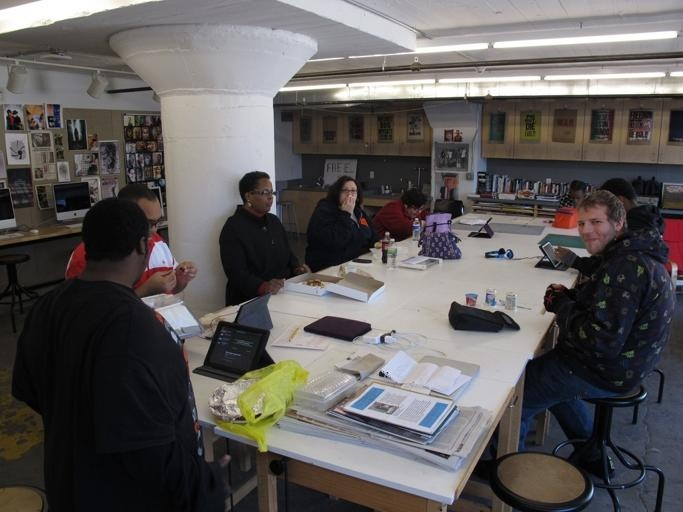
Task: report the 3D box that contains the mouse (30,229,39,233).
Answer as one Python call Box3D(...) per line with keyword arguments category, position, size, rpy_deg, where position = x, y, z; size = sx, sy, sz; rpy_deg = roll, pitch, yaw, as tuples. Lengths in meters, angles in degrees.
Box3D(category="mouse", position=(-3.802, -0.309, 5.963), size=(0.083, 0.023, 0.084), rpy_deg=(-5, 17, -39))

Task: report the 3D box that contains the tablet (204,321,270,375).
Box3D(category="tablet", position=(-0.549, 0.431, 2.319), size=(0.183, 0.238, 0.356), rpy_deg=(23, -7, 33))

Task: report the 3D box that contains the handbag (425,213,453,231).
Box3D(category="handbag", position=(0.903, -0.312, 4.456), size=(0.297, 0.189, 0.162), rpy_deg=(-1, 4, -4))

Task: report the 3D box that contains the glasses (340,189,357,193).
Box3D(category="glasses", position=(0.083, -0.608, 4.513), size=(0.144, 0.039, 0.057), rpy_deg=(-5, 12, -23))

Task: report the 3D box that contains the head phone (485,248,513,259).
Box3D(category="head phone", position=(1.431, -0.023, 4.372), size=(0.179, 0.064, 0.121), rpy_deg=(-1, 1, -5))

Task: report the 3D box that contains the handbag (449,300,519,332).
Box3D(category="handbag", position=(0.821, 0.353, 2.800), size=(0.263, 0.078, 0.192), rpy_deg=(-1, 8, 4))

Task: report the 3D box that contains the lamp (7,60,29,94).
Box3D(category="lamp", position=(-3.536, -1.954, 5.238), size=(0.172, 0.306, 0.405), rpy_deg=(-12, 16, -43))

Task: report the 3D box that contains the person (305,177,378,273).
Box3D(category="person", position=(0.002, -0.302, 4.803), size=(0.655, 0.965, 0.822), rpy_deg=(10, 18, 38))

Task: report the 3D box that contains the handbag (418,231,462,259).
Box3D(category="handbag", position=(0.946, -0.098, 4.373), size=(0.248, 0.303, 0.332), rpy_deg=(-5, 2, -27))

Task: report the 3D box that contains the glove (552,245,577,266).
Box3D(category="glove", position=(1.826, 0.001, 3.943), size=(0.177, 0.076, 0.054), rpy_deg=(31, 3, 43))

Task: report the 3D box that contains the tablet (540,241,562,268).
Box3D(category="tablet", position=(1.728, -0.011, 4.058), size=(0.191, 0.151, 0.251), rpy_deg=(-20, 5, 35))

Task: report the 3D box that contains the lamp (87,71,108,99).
Box3D(category="lamp", position=(-3.037, -2.132, 5.949), size=(0.290, 0.309, 0.159), rpy_deg=(6, 14, 32))

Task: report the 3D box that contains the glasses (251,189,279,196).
Box3D(category="glasses", position=(-0.614, -0.504, 3.824), size=(0.160, 0.048, 0.054), rpy_deg=(-8, 13, -34))

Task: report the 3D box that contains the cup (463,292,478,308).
Box3D(category="cup", position=(0.855, 0.283, 3.164), size=(0.088, 0.061, 0.083), rpy_deg=(0, 6, 0))

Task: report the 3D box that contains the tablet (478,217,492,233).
Box3D(category="tablet", position=(1.653, -0.353, 5.546), size=(0.163, 0.195, 0.209), rpy_deg=(5, 14, 28))
